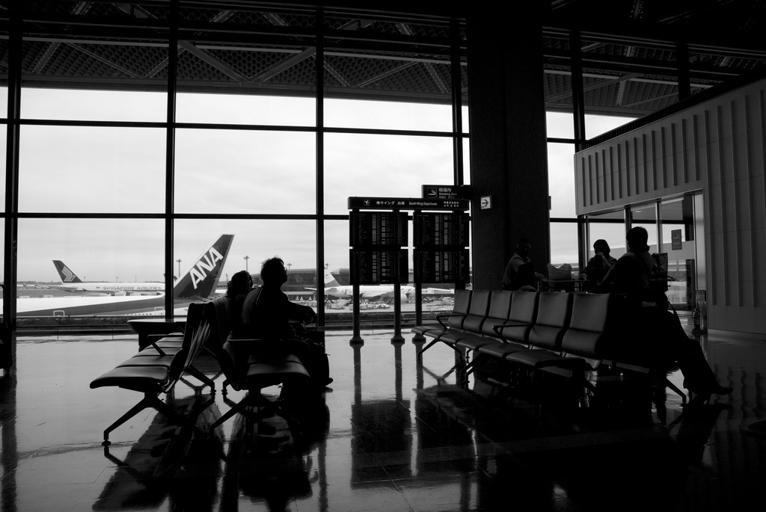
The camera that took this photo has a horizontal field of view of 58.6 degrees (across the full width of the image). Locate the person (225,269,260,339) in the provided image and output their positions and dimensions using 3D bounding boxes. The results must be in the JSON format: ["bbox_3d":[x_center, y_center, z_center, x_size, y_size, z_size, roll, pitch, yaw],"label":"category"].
[{"bbox_3d":[-1.928,0.614,9.107,0.281,0.694,0.702,6,-1,-7],"label":"person"}]

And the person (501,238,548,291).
[{"bbox_3d":[2.168,0.139,10.786,0.530,0.814,0.405,2,2,16],"label":"person"}]
